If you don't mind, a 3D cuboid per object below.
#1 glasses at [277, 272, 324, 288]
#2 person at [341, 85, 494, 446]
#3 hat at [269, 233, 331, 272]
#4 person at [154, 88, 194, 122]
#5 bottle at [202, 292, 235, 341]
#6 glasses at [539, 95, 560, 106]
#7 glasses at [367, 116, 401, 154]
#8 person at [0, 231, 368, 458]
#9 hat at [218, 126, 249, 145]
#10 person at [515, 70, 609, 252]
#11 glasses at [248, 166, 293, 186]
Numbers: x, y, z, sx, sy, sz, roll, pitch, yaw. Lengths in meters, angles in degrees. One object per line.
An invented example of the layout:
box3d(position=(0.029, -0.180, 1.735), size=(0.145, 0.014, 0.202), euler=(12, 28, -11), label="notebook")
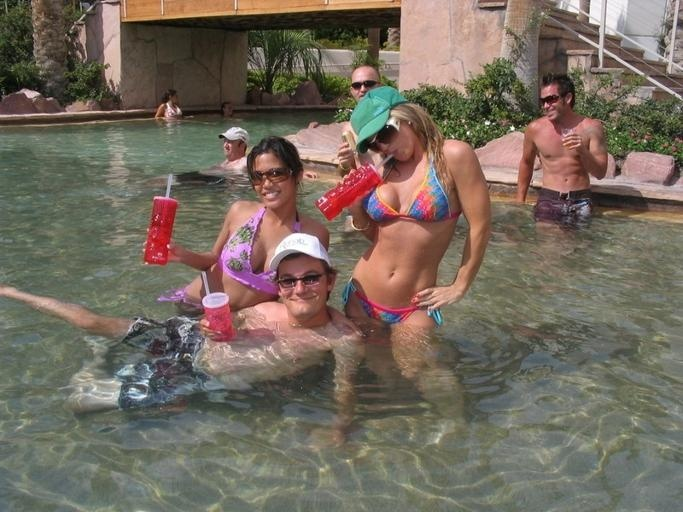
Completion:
box3d(position=(-0.248, 0.151, 3.401), size=(0.278, 0.107, 0.079), euler=(0, 13, -2), label="glasses")
box3d(position=(0.434, -0.162, 3.515), size=(0.981, 1.847, 0.440), euler=(5, 15, 18), label="person")
box3d(position=(-0.260, -0.027, 3.460), size=(0.350, 0.215, 0.205), euler=(3, 13, 11), label="hat")
box3d(position=(-5.478, -4.831, 17.297), size=(0.842, 0.974, 0.943), euler=(-3, 14, -16), label="person")
box3d(position=(-0.752, 0.375, 3.366), size=(0.166, 0.326, 0.196), euler=(-1, 14, -7), label="bottle")
box3d(position=(2.531, -1.921, 6.684), size=(0.137, 0.108, 0.277), euler=(-3, 13, -16), label="glasses")
box3d(position=(0.283, -0.758, 3.376), size=(0.198, 0.059, 0.197), euler=(-28, 14, 45), label="glasses")
box3d(position=(-0.853, 0.401, 3.467), size=(1.845, 0.750, 1.159), euler=(12, 33, -13), label="person")
box3d(position=(-1.567, -1.889, 8.384), size=(0.294, 0.171, 0.438), euler=(6, 1, 37), label="hat")
box3d(position=(2.774, -1.242, 6.625), size=(0.925, 1.948, 1.338), euler=(2, 13, 4), label="person")
box3d(position=(-0.489, -0.562, 3.814), size=(0.284, 0.131, 0.113), euler=(0, 13, -4), label="glasses")
